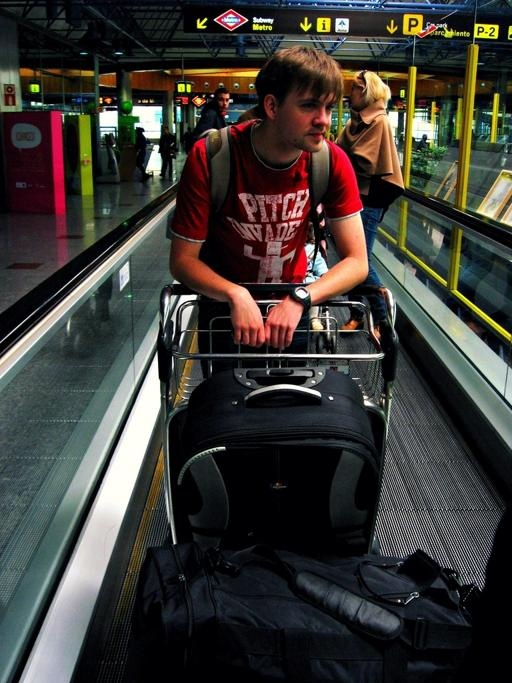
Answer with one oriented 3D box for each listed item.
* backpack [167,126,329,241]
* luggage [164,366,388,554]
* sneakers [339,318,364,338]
[{"bbox_3d":[-0.014,-0.408,1.253,0.321,0.338,0.234,13,20,-4],"label":"backpack"},{"bbox_3d":[0.052,0.273,1.128,0.434,0.434,0.246,-4,39,-1],"label":"luggage"},{"bbox_3d":[0.748,-0.100,3.723,0.111,0.133,0.323,16,20,37],"label":"sneakers"}]
